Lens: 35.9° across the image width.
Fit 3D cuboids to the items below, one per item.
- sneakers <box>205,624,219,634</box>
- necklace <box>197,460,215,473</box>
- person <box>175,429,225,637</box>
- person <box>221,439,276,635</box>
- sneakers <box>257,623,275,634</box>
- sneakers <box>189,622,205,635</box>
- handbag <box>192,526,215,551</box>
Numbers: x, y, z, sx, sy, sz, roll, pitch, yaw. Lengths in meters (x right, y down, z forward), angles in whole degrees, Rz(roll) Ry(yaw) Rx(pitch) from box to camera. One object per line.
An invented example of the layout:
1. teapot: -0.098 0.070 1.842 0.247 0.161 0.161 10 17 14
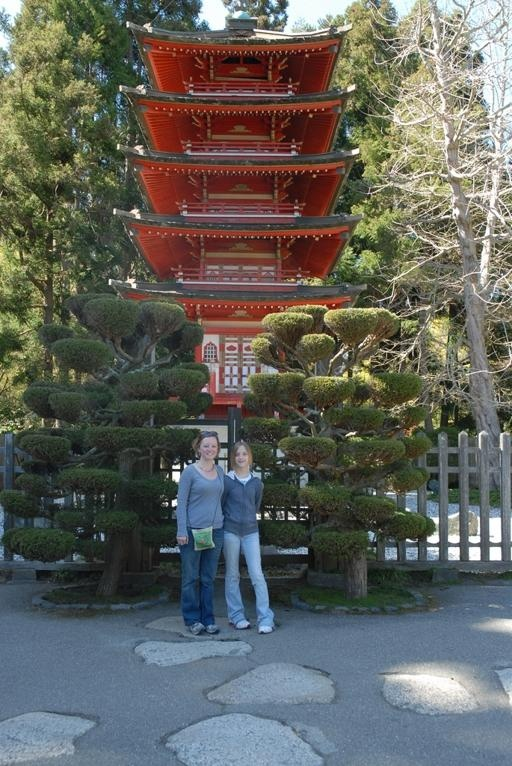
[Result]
1. sneakers: -0.328 1.886 6.077 0.125 0.064 0.129 3 -9 -15
2. necklace: -0.393 0.657 6.228 0.114 0.050 0.145 0 0 2
3. person: -0.432 1.159 6.178 0.343 1.532 0.319 1 -10 -1
4. person: -0.056 1.215 6.413 0.431 1.485 0.526 0 -10 1
5. sneakers: 0.101 1.892 6.120 0.104 0.063 0.251 -5 -10 30
6. sneakers: -0.449 1.871 6.032 0.115 0.080 0.157 1 -9 -6
7. handbag: -0.411 1.190 6.092 0.238 0.206 0.086 -2 0 -7
